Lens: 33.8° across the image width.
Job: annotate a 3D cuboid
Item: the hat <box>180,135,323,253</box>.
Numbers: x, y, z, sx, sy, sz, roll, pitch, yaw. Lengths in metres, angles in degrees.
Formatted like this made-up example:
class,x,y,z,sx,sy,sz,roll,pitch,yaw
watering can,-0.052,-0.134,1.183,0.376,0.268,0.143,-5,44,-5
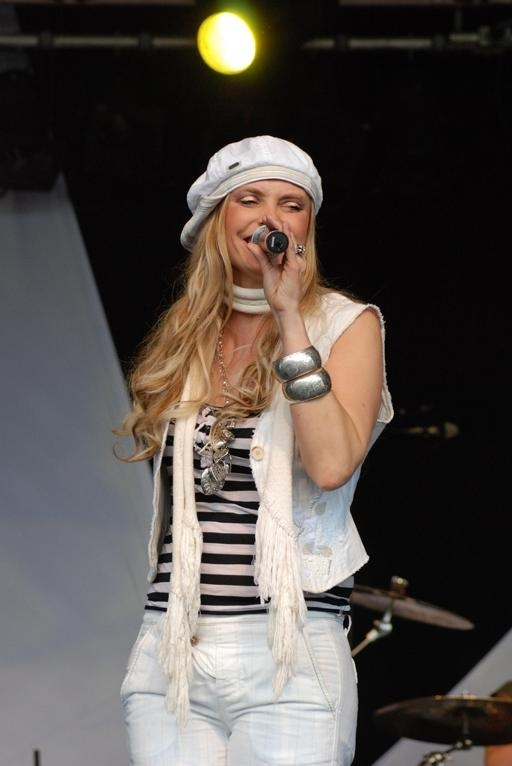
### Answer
class,x,y,z,sx,sy,sz,roll,pitch,yaw
hat,-0.020,-0.402,1.775,0.301,0.125,0.346,-12,-10,3

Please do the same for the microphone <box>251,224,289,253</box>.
class,x,y,z,sx,sy,sz,roll,pitch,yaw
microphone,0.027,-0.247,1.448,0.043,0.040,0.059,31,-2,-27

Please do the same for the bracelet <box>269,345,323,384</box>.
class,x,y,z,sx,sy,sz,roll,pitch,yaw
bracelet,0.062,-0.025,1.351,0.061,0.022,0.058,-19,-2,5

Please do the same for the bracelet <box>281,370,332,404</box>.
class,x,y,z,sx,sy,sz,roll,pitch,yaw
bracelet,0.081,0.011,1.327,0.061,0.022,0.057,-21,3,-38
